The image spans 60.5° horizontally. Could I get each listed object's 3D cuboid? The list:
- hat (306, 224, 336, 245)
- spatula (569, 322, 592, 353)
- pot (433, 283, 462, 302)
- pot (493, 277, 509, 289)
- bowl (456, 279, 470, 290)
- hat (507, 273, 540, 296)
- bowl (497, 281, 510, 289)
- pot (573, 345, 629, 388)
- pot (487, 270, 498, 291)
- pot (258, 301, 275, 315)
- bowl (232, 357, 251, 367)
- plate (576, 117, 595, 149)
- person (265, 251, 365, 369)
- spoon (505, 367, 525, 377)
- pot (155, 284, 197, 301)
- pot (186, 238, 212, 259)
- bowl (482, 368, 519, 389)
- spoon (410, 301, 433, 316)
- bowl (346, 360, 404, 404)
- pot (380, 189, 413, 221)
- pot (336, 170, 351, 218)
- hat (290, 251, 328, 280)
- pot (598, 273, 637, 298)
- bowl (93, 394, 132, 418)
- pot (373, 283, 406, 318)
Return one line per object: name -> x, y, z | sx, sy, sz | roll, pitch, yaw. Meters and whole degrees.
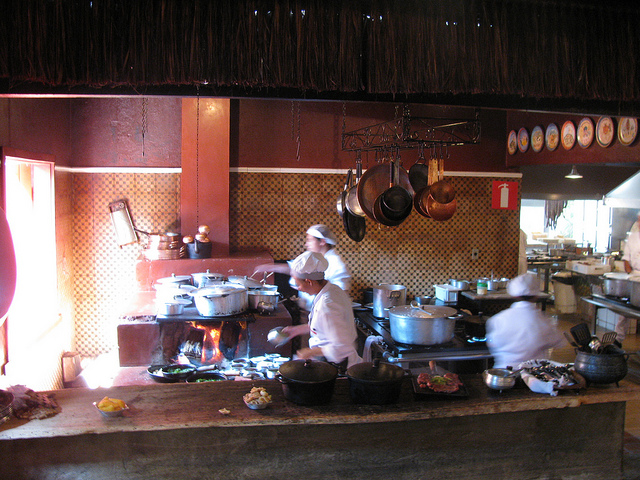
hat -> 0.009, -0.064, 5.418 | 0.260, 0.123, 0.193 | 25, 6, 7
spatula -> 1.687, 0.612, 3.547 | 0.048, 0.113, 0.351 | 26, 15, 30
pot -> 1.471, 0.609, 6.395 | 0.230, 0.172, 0.347 | -1, 14, -7
pot -> 2.229, 0.526, 6.733 | 0.146, 0.086, 0.146 | 0, 4, 0
bowl -> 1.739, 0.542, 6.728 | 0.147, 0.098, 0.144 | 1, 0, 0
hat -> 1.589, 0.357, 4.338 | 0.220, 0.173, 0.162 | 19, 0, 24
bowl -> 2.209, 0.547, 6.686 | 0.090, 0.065, 0.092 | 1, 0, 0
pot -> 1.740, 0.771, 3.425 | 0.248, 0.182, 0.265 | -2, 2, 0
pot -> 2.075, 0.545, 6.586 | 0.127, 0.210, 0.124 | 0, -1, 0
pot -> -0.499, 0.627, 5.007 | 0.133, 0.098, 0.097 | -1, 4, -10
bowl -> -0.608, 0.946, 4.236 | 0.128, 0.029, 0.126 | 2, 0, 0
plate -> 3.322, -1.339, 6.888 | 0.055, 0.319, 0.297 | 4, -7, -19
person -> -0.046, 0.456, 4.180 | 0.830, 1.059, 0.697 | -1, 6, 11
spoon -> 1.193, 0.819, 3.381 | 0.188, 0.024, 0.023 | -9, 43, -32
pot -> -1.296, 0.486, 4.955 | 0.310, 0.140, 0.310 | 0, 13, 0
pot -> -1.323, 0.104, 5.941 | 0.165, 0.185, 0.276 | 1, 8, 1
bowl -> 1.099, 0.842, 3.355 | 0.193, 0.083, 0.169 | 0, 13, -2
spoon -> 0.866, 0.596, 4.761 | 0.064, 0.038, 0.190 | 13, 7, -41
bowl -> 0.320, 0.815, 3.206 | 0.328, 0.223, 0.280 | 1, 14, 4
pot -> 0.568, -0.249, 4.144 | 0.243, 0.225, 0.154 | 2, 14, 5
pot -> 0.211, -0.428, 5.195 | 0.059, 0.413, 0.128 | 13, 8, 21
hat -> -0.079, 0.178, 3.822 | 0.233, 0.153, 0.183 | 3, 6, -7
pot -> 3.151, 0.484, 5.851 | 0.247, 0.117, 0.244 | 0, 1, 0
bowl -> -1.143, 0.910, 3.039 | 0.178, 0.076, 0.175 | 0, 13, 0
pot -> 0.699, 0.613, 5.644 | 0.315, 0.293, 0.344 | 1, 1, 0
